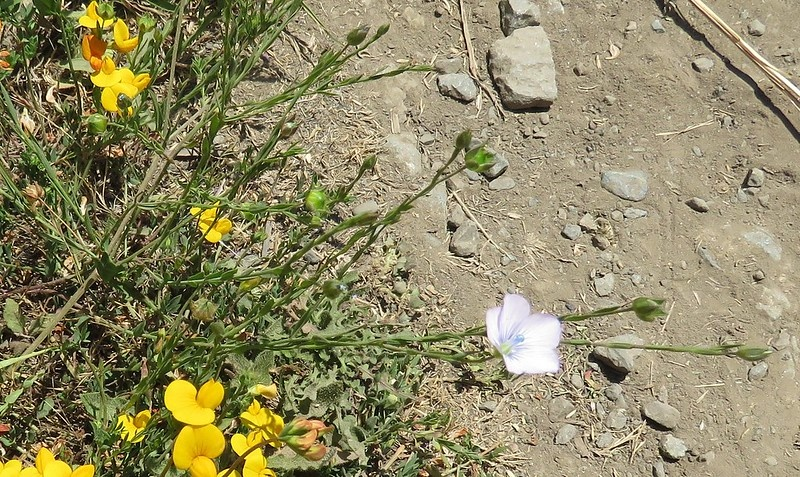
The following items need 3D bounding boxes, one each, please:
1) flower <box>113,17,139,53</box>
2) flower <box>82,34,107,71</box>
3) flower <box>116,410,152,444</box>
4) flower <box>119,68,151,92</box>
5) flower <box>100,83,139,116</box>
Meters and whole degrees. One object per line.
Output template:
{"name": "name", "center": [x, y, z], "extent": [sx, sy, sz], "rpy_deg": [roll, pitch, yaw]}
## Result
{"name": "flower", "center": [-1.402, -1.043, 3.686], "extent": [0.120, 0.187, 0.162], "rpy_deg": [-10, 53, -20]}
{"name": "flower", "center": [-1.524, -0.943, 3.648], "extent": [0.123, 0.170, 0.051], "rpy_deg": [-26, 13, -5]}
{"name": "flower", "center": [-1.255, 0.894, 3.440], "extent": [0.162, 0.037, 0.162], "rpy_deg": [-5, 84, -40]}
{"name": "flower", "center": [-1.322, -0.803, 3.616], "extent": [0.133, 0.085, 0.101], "rpy_deg": [27, 10, -31]}
{"name": "flower", "center": [-1.405, -0.712, 3.616], "extent": [0.120, 0.121, 0.166], "rpy_deg": [38, 52, 20]}
